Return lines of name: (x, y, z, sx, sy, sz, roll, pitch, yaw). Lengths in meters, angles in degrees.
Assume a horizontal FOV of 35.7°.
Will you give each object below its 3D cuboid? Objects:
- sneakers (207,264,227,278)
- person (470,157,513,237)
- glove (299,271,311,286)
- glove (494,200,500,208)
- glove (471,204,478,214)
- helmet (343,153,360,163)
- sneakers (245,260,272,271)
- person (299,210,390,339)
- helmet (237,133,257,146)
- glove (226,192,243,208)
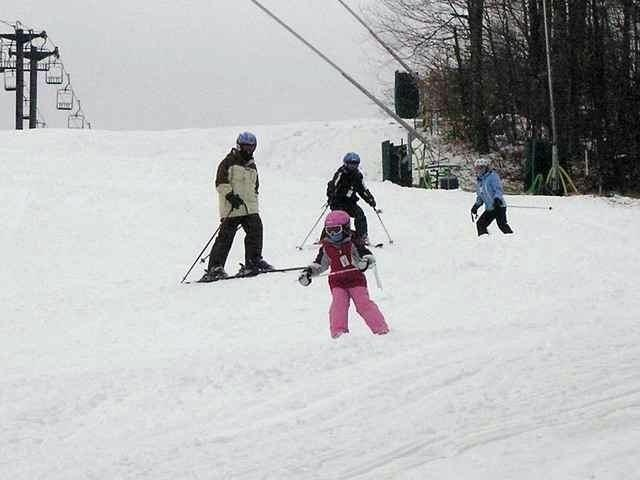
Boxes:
sneakers: (-1.598, 0.505, 15.659, 0.164, 0.179, 0.259, 0, 0, -39)
person: (3.198, -0.805, 18.491, 0.743, 1.404, 0.634, -1, 5, 18)
glove: (-0.205, 0.535, 13.563, 0.134, 0.189, 0.190, 1, 6, 7)
glove: (3.241, -0.671, 18.173, 0.118, 0.150, 0.024, 1, 5, 30)
glove: (2.876, -0.577, 18.531, 0.128, 0.187, 0.072, 2, 6, -1)
helmet: (0.549, -1.416, 17.176, 0.200, 0.119, 0.301, 3, 14, 2)
sneakers: (-0.959, 0.378, 15.920, 0.449, 0.218, 0.169, -3, 7, -9)
person: (0.296, 0.436, 13.382, 0.853, 1.631, 1.291, -5, 6, -35)
helmet: (-1.188, -1.645, 15.939, 0.250, 0.225, 0.198, 22, 22, 40)
glove: (-1.344, -0.631, 15.739, 0.210, 0.266, 0.140, -39, 12, 17)
